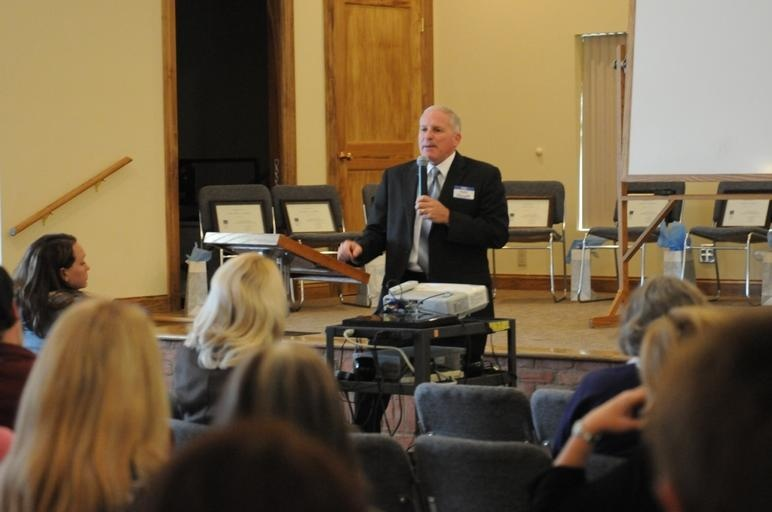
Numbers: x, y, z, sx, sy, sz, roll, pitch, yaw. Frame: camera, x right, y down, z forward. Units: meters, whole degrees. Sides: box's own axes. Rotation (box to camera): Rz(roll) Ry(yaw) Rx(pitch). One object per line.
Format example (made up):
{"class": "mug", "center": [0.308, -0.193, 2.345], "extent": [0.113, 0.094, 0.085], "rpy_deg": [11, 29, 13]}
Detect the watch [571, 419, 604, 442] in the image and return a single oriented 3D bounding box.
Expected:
{"class": "watch", "center": [0.395, 0.345, 1.478], "extent": [0.041, 0.040, 0.042], "rpy_deg": [2, -7, 2]}

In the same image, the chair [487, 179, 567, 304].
{"class": "chair", "center": [1.369, -0.135, 7.270], "extent": [0.864, 1.225, 0.875], "rpy_deg": [1, 0, 1]}

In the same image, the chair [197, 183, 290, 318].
{"class": "chair", "center": [-1.220, -0.084, 6.302], "extent": [0.651, 0.957, 0.646], "rpy_deg": [-2, 0, -22]}

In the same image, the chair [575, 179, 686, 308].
{"class": "chair", "center": [2.349, -0.133, 6.817], "extent": [0.638, 0.789, 0.621], "rpy_deg": [-8, -10, 36]}

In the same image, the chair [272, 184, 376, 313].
{"class": "chair", "center": [-0.505, 0.030, 6.470], "extent": [0.933, 1.400, 0.989], "rpy_deg": [-7, -4, -11]}

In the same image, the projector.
{"class": "projector", "center": [0.248, 0.180, 3.164], "extent": [0.227, 0.088, 0.233], "rpy_deg": [3, 4, 36]}
